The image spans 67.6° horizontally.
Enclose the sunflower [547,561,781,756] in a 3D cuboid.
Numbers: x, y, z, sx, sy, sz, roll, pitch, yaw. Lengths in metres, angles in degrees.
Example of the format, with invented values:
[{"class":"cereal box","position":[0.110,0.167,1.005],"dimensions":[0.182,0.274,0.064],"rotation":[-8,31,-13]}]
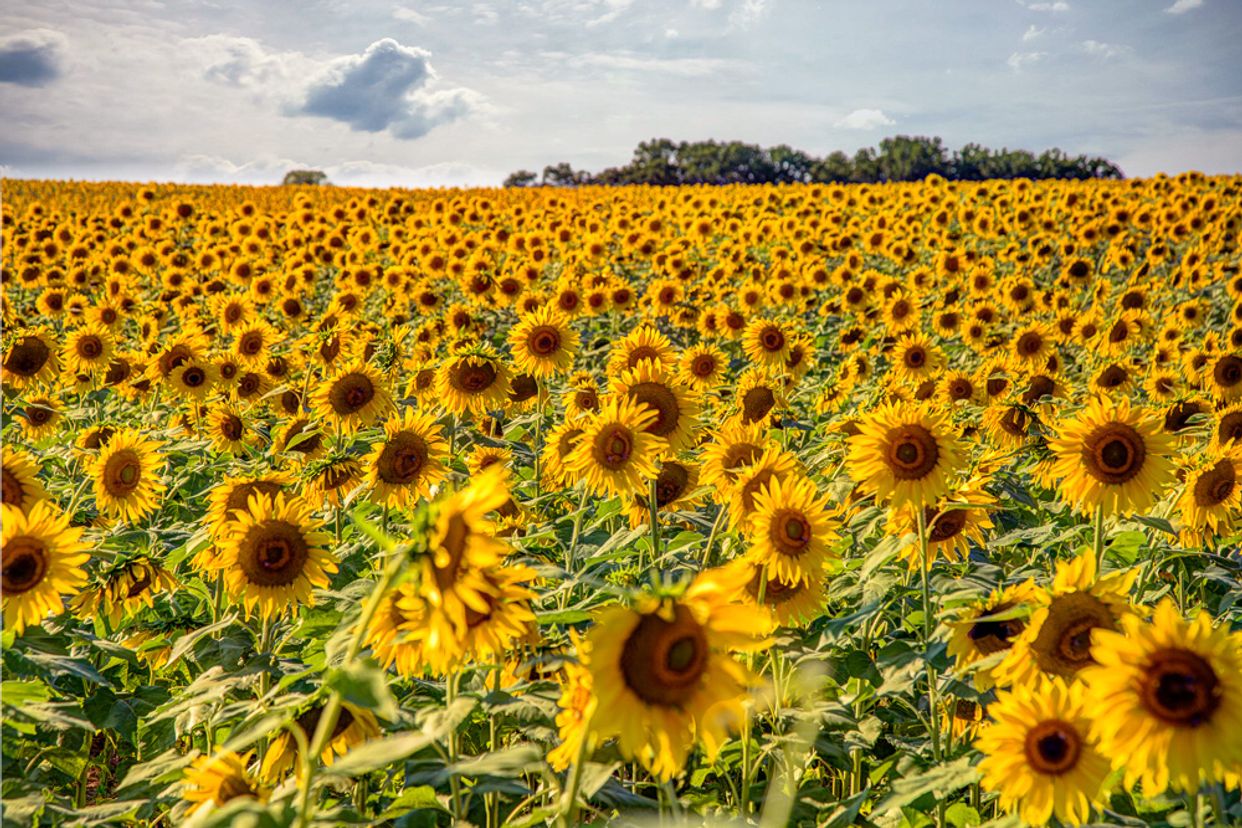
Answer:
[{"class":"sunflower","position":[0.157,0.810,3.009],"dimensions":[0.613,0.631,0.251],"rotation":[-5,24,-17]}]
